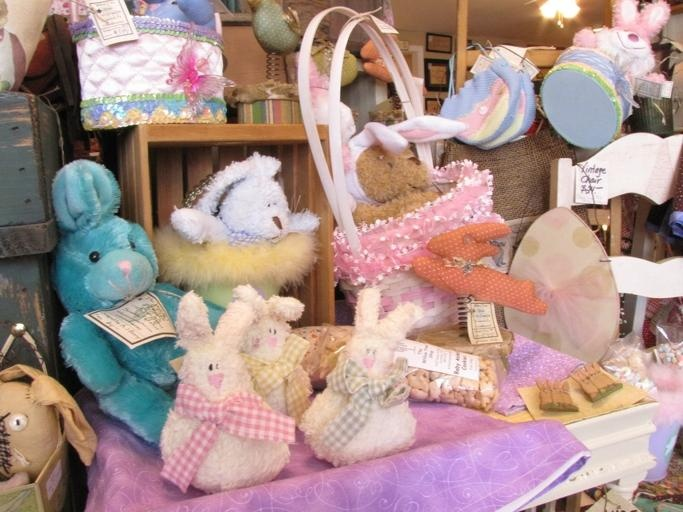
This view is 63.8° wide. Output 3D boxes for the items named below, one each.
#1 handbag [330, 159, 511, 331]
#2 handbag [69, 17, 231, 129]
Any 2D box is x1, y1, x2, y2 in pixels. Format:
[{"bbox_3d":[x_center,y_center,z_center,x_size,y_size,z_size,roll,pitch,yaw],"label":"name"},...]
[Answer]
[{"bbox_3d":[0.210,-0.067,1.592,0.463,0.322,0.447,-26,1,-19],"label":"handbag"},{"bbox_3d":[-0.437,-0.381,1.297,0.272,0.174,0.271,4,11,31],"label":"handbag"}]
